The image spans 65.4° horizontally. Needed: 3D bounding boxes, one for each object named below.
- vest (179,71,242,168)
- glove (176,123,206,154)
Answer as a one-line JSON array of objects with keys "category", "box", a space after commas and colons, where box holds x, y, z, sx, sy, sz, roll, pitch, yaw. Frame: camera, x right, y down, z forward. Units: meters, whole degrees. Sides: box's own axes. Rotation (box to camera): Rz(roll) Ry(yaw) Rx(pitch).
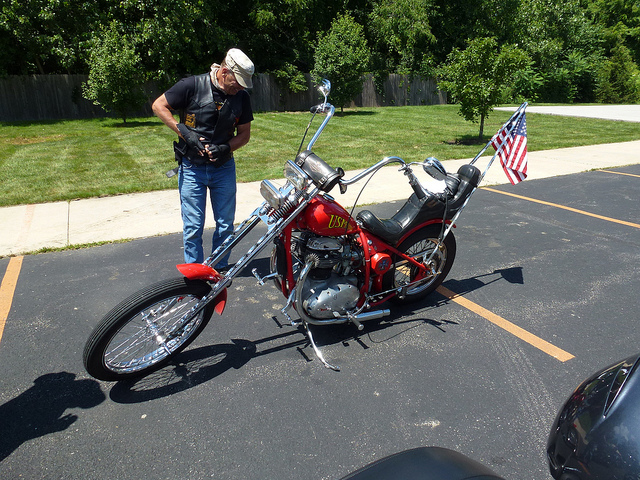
[{"category": "vest", "box": [-1.255, -1.387, 5.705, 0.624, 0.975, 0.502, 0, 23, -38]}, {"category": "glove", "box": [-1.385, -1.088, 5.406, 0.317, 0.218, 0.093, 36, -15, -3]}]
